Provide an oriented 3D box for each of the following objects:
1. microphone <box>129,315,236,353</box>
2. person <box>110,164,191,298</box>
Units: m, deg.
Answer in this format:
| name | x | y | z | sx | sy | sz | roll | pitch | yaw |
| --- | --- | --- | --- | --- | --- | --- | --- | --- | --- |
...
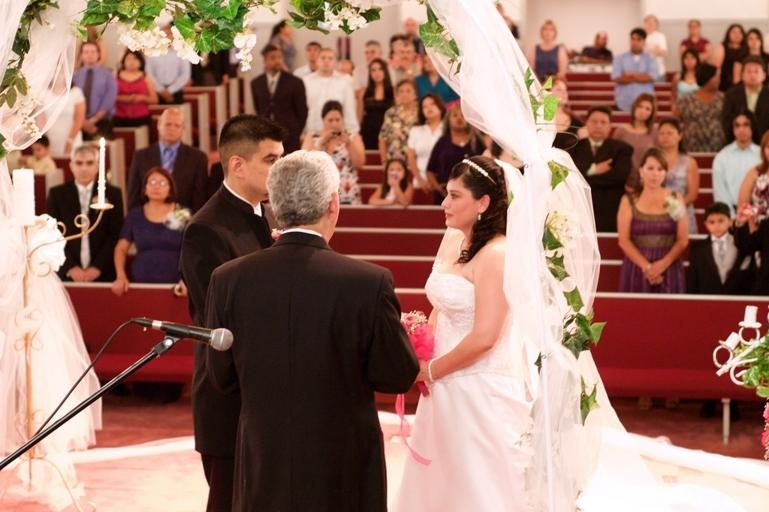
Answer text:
| name | x | y | z | sx | sy | sz | roll | pitch | yaw |
| --- | --- | --- | --- | --- | --- | --- | --- | --- | --- |
| microphone | -0.910 | 0.347 | 3.975 | 0.458 | 0.138 | 0.248 | 0 | 5 | 6 |
| person | -2.061 | -0.233 | 7.732 | 0.685 | 1.109 | 0.574 | 3 | 13 | -11 |
